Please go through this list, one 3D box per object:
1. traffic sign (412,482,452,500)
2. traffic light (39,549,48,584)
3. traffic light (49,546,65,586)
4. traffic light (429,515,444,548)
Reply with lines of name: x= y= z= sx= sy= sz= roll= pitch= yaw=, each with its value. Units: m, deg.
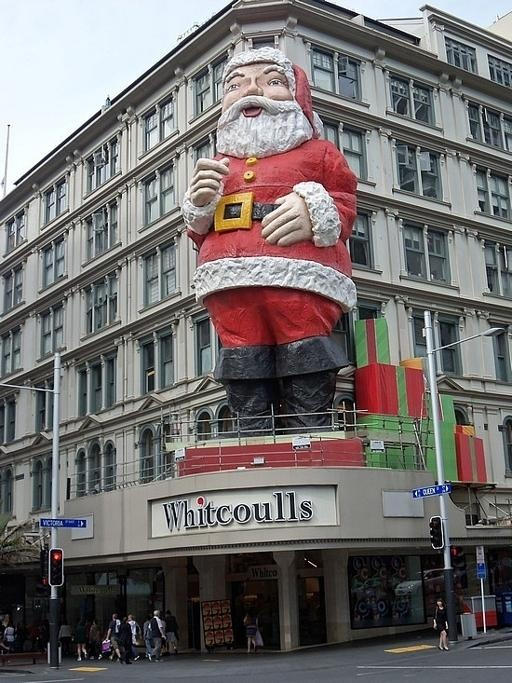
traffic sign: x=4.529 y=3.814 z=23.841 sx=0.437 sy=0.319 sz=2.004 roll=0 pitch=-18 yaw=-11
traffic light: x=-5.520 y=5.921 z=24.207 sx=0.169 sy=0.859 sz=0.759 roll=0 pitch=-19 yaw=-12
traffic light: x=-5.217 y=5.846 z=24.040 sx=0.353 sy=0.973 sz=0.508 roll=3 pitch=-20 yaw=-18
traffic light: x=4.574 y=4.841 z=23.512 sx=0.335 sy=0.749 sz=0.526 roll=-7 pitch=-19 yaw=10
